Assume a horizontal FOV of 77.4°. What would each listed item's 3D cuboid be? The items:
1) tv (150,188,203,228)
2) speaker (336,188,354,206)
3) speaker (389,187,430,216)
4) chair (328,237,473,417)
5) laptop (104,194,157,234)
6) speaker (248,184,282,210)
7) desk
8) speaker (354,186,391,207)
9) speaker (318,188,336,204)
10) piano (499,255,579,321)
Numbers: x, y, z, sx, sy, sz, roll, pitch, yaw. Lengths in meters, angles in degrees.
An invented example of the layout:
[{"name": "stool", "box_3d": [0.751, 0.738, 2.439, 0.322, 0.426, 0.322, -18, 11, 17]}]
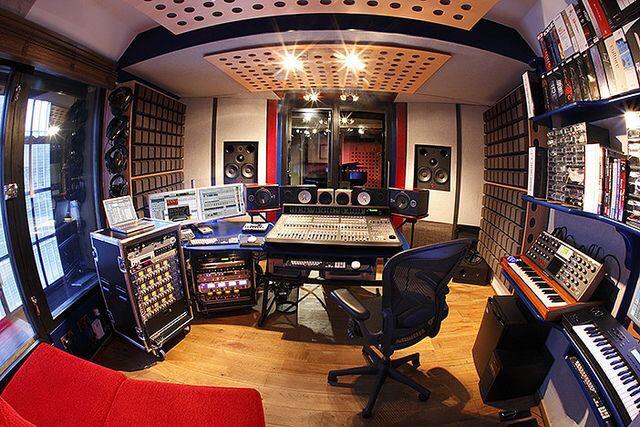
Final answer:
[{"name": "tv", "box_3d": [-1.602, -0.056, 4.471, 0.428, 0.354, 0.148, -4, 7, -28]}, {"name": "speaker", "box_3d": [0.294, -0.190, 4.735, 0.171, 0.174, 0.184, 2, 14, 0]}, {"name": "speaker", "box_3d": [1.109, -0.265, 4.930, 0.336, 0.367, 0.485, -11, 15, -43]}, {"name": "chair", "box_3d": [0.693, 0.952, 3.521, 1.115, 1.550, 0.649, -2, 9, -2]}, {"name": "laptop", "box_3d": [-1.892, 0.005, 3.976, 0.418, 0.366, 0.359, 14, 13, 19]}, {"name": "speaker", "box_3d": [-0.688, -0.199, 4.893, 0.328, 0.257, 0.339, -1, 3, -14]}, {"name": "desk", "box_3d": [-0.006, 0.915, 4.603, 1.944, 0.852, 1.208, 0, -2, 5]}, {"name": "speaker", "box_3d": [0.598, -0.192, 4.677, 0.425, 0.271, 0.220, 1, 2, 7]}, {"name": "speaker", "box_3d": [0.094, -0.212, 4.750, 0.170, 0.172, 0.176, 0, 14, -2]}, {"name": "piano", "box_3d": [1.809, 0.607, 3.294, 0.309, 0.170, 0.702, -19, 27, 11]}]
